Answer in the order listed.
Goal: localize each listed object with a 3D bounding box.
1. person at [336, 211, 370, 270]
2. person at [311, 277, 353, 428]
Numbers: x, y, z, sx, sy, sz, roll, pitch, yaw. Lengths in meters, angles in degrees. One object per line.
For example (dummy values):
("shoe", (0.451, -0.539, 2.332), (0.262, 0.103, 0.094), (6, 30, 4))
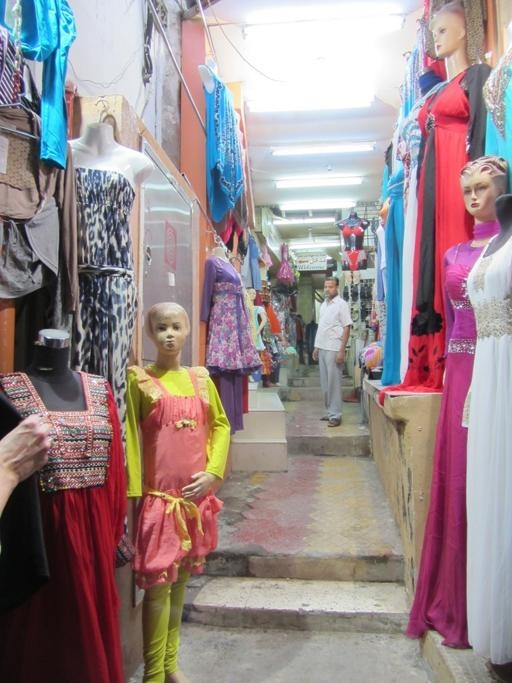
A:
("person", (1.397, -1.353, 7.208), (0.437, 1.044, 0.270), (-1, -21, 12))
("person", (0.875, 0.091, 5.683), (0.374, 1.609, 0.687), (-1, 2, -2))
